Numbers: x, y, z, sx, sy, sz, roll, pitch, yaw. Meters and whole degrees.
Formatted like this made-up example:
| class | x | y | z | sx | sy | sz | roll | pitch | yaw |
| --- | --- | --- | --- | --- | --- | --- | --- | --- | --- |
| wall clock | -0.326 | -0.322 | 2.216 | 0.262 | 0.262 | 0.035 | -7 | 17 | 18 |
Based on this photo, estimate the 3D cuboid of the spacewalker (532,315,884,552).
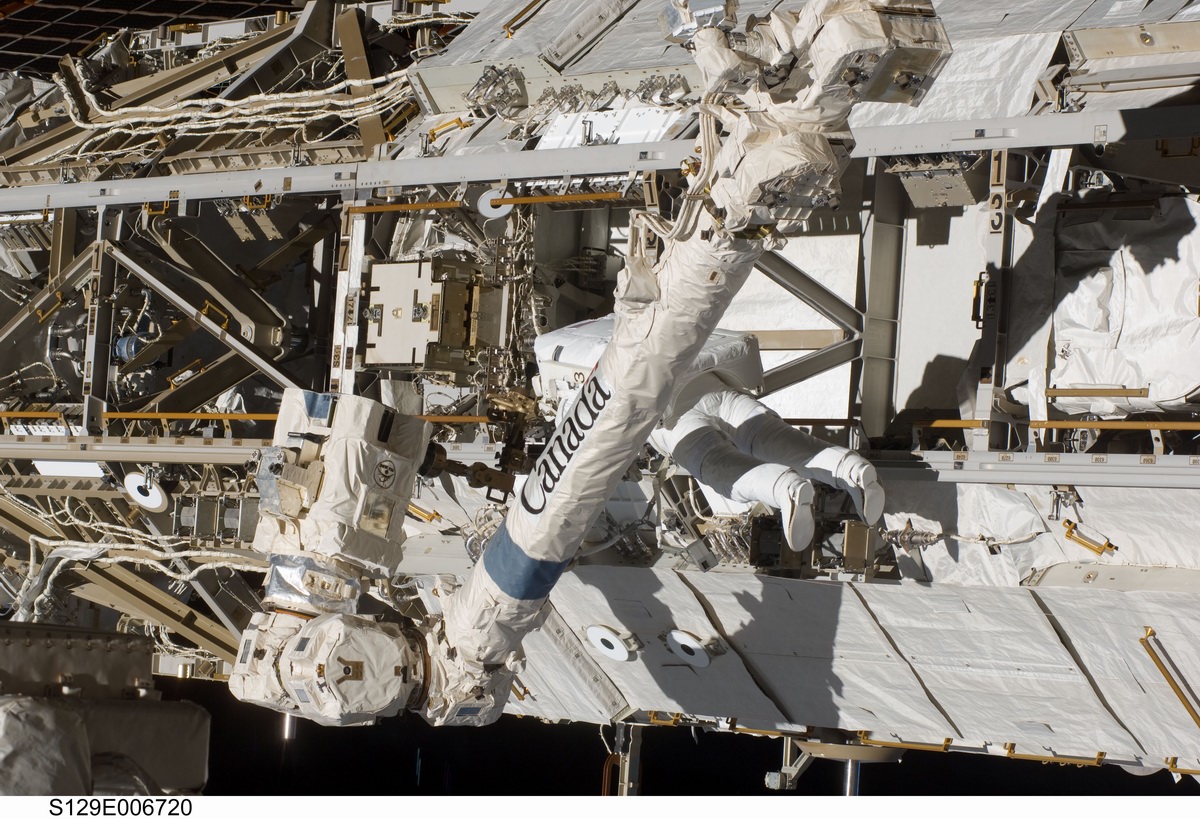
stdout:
| class | x | y | z | sx | sy | sz | roll | pitch | yaw |
| --- | --- | --- | --- | --- | --- | --- | --- | --- | --- |
| spacewalker | 0.803 | 0.098 | 17.310 | 1.672 | 1.120 | 3.121 | -24 | 21 | -24 |

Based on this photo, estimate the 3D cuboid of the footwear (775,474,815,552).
| class | x | y | z | sx | sy | sz | roll | pitch | yaw |
| --- | --- | --- | --- | --- | --- | --- | --- | --- | --- |
| footwear | 1.639 | 0.852 | 16.458 | 0.316 | 0.604 | 0.297 | -3 | -6 | -5 |

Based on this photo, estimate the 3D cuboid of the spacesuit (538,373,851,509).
| class | x | y | z | sx | sy | sz | roll | pitch | yaw |
| --- | --- | --- | --- | --- | --- | --- | --- | --- | --- |
| spacesuit | 1.194 | -0.009 | 17.189 | 2.760 | 0.616 | 1.400 | 29 | 5 | 7 |
